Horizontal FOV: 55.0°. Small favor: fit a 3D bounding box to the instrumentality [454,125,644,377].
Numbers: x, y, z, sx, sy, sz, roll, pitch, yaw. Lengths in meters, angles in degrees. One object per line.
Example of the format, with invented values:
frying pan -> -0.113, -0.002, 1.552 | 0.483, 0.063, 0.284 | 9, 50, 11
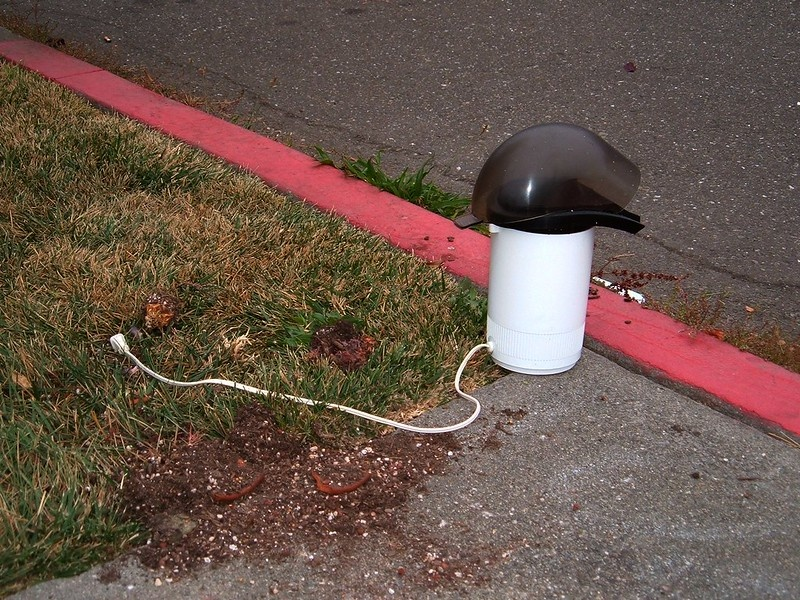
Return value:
instrumentality -> 0.730, -0.421, 4.395 | 1.165, 1.515, 1.169 | 1, 21, 8
